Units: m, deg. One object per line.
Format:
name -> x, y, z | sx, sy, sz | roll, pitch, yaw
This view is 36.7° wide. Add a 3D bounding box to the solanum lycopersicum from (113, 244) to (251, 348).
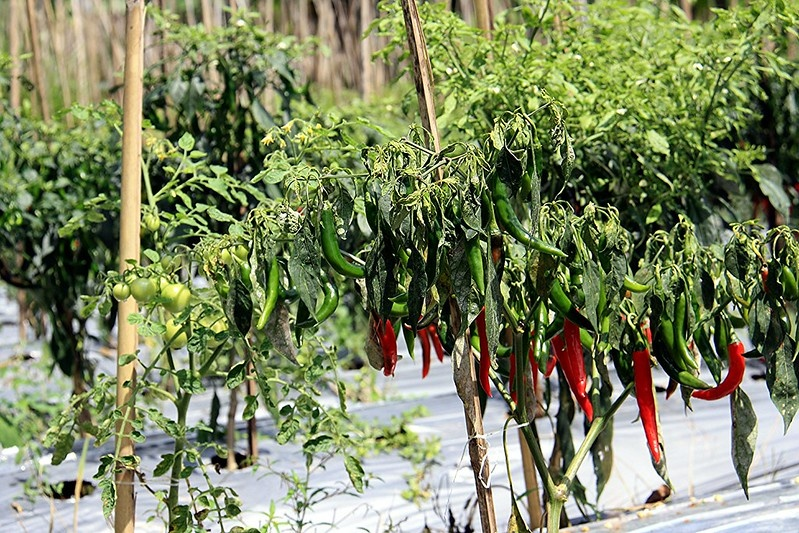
solanum lycopersicum -> -0.541, 0.084, 3.140 | 0.393, 0.196, 0.193 | -7, 5, 17
